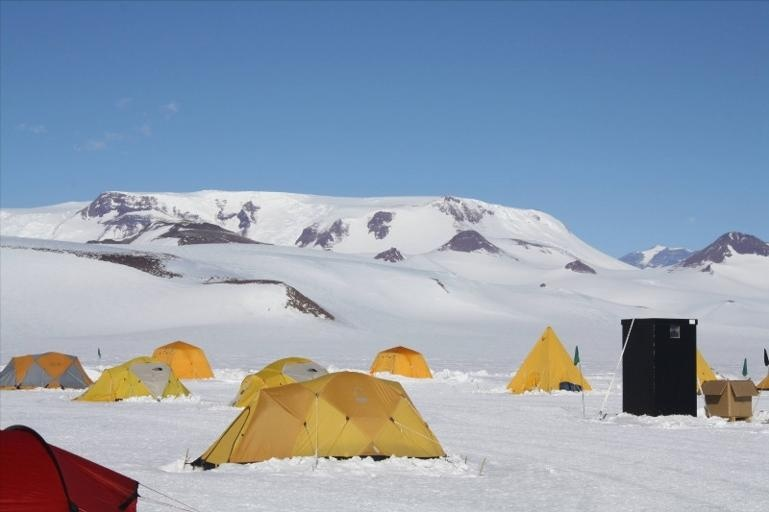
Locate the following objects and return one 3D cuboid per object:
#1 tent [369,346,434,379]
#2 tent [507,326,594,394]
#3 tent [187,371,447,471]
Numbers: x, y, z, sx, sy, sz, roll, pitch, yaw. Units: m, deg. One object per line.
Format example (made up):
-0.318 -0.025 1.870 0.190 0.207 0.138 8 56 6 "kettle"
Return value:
1.166 6.852 72.066 3.649 1.811 4.067 7 4 -13 "tent"
8.493 5.744 62.182 4.777 2.860 3.847 1 -7 -9 "tent"
-1.942 6.616 44.854 9.757 3.386 4.867 3 12 1 "tent"
